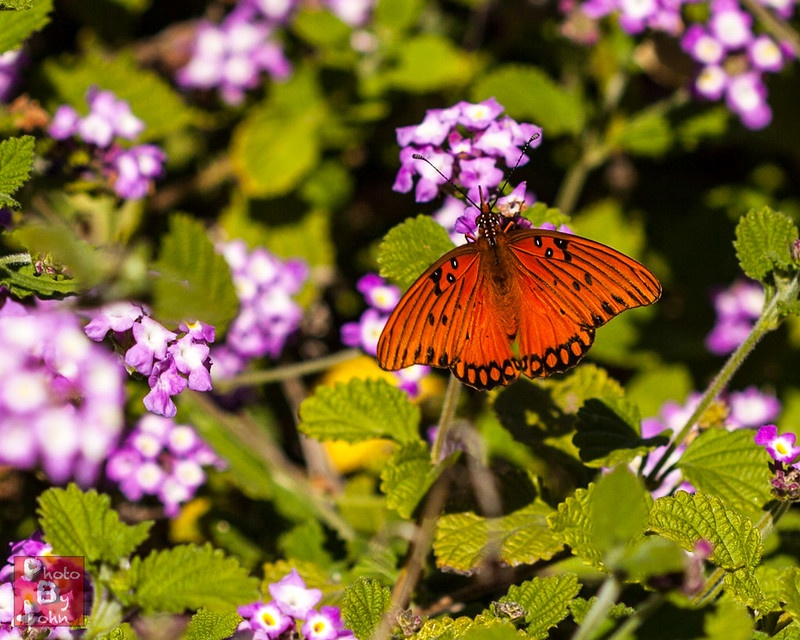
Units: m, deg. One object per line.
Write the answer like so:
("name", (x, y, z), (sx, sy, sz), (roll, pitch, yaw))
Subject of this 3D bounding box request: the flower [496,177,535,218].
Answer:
("flower", (0.386, -0.393, 3.394), (0.094, 0.051, 0.128), (17, 87, 25))

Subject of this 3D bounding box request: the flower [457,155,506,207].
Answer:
("flower", (0.261, -0.478, 3.409), (0.137, 0.098, 0.141), (-28, 64, -19))

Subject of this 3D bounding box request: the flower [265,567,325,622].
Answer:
("flower", (-0.314, 0.897, 3.341), (0.186, 0.217, 0.088), (34, 62, -17))

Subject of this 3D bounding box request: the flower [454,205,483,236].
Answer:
("flower", (0.221, -0.325, 3.332), (0.071, 0.080, 0.070), (10, 57, 3))
